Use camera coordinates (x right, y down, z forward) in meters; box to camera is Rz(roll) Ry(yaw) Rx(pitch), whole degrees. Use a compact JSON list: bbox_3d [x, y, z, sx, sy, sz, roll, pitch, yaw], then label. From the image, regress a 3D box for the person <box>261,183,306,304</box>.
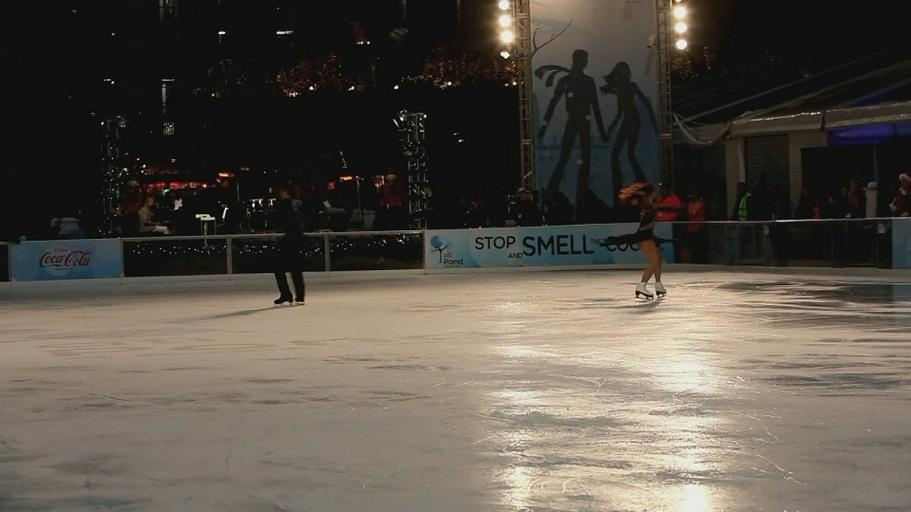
[{"bbox_3d":[-4.413,-0.312,21.169,0.806,2.138,1.070,-3,-2,-10],"label":"person"}]
